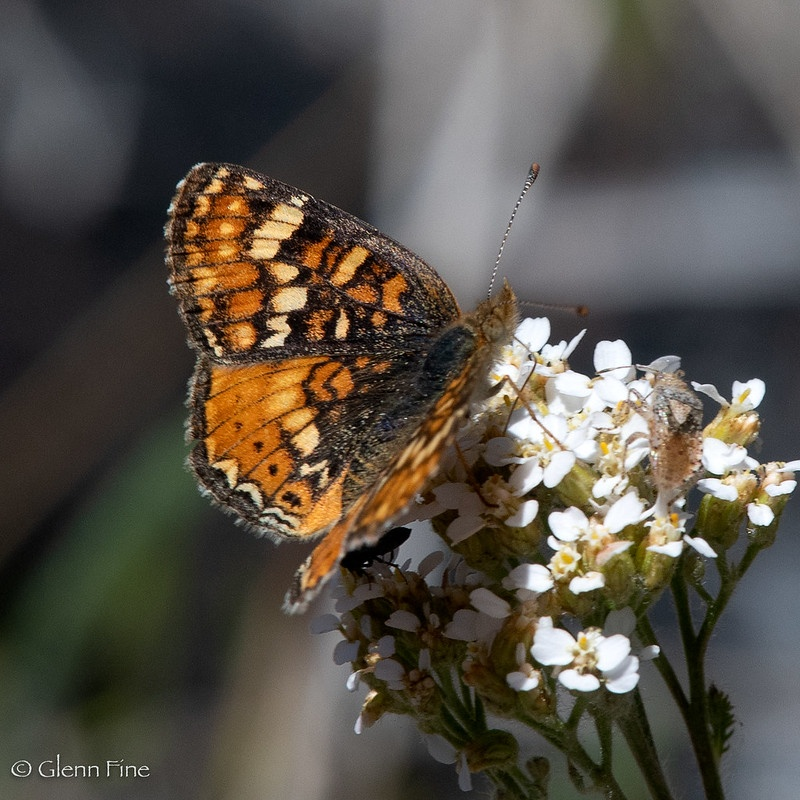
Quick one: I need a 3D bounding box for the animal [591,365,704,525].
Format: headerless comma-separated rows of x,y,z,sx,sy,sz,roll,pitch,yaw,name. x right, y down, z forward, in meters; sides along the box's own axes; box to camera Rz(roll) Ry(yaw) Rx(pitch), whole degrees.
0.633,0.078,2.670,0.111,0.264,0.291,-4,89,28,animal
